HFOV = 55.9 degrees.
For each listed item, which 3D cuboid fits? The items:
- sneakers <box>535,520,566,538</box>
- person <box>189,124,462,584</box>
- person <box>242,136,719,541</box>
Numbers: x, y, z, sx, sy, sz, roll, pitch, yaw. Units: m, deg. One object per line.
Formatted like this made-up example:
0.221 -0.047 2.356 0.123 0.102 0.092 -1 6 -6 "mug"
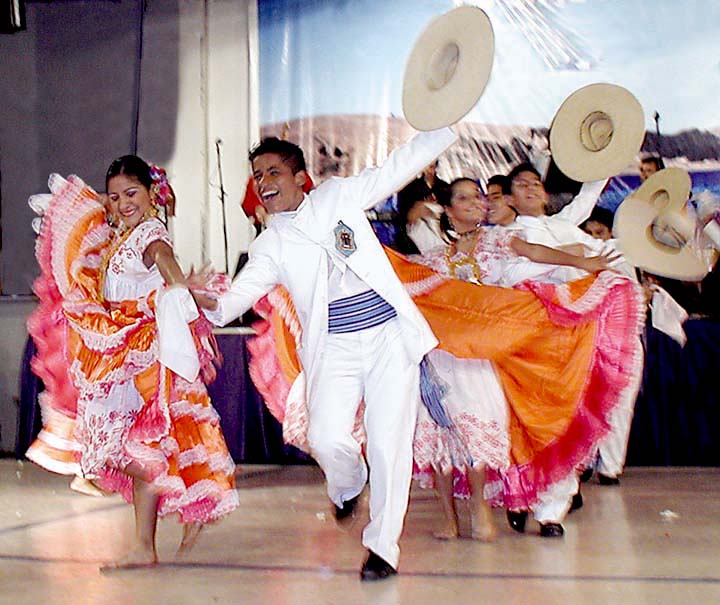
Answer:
0.769 0.900 2.721 0.105 0.073 0.152 -1 2 15 "sneakers"
-0.063 0.132 2.350 0.699 1.455 0.414 0 3 28 "person"
0.640 0.365 3.605 1.909 1.504 0.874 3 -15 2 "person"
